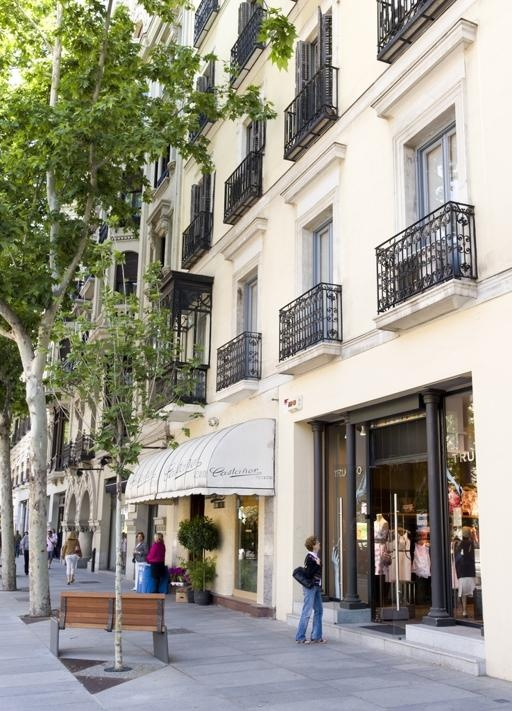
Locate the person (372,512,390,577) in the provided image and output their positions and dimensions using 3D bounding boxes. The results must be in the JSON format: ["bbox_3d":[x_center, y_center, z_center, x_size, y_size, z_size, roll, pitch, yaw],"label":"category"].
[{"bbox_3d":[1.893,2.877,10.226,0.094,0.898,0.418,5,-14,-18],"label":"person"}]

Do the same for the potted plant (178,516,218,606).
[{"bbox_3d":[-1.390,4.798,15.832,0.908,1.931,1.437,3,-14,-12],"label":"potted plant"}]

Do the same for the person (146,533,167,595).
[{"bbox_3d":[-2.311,4.810,15.552,0.430,1.328,1.042,2,-14,-8],"label":"person"}]

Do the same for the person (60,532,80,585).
[{"bbox_3d":[-6.243,6.796,22.581,0.547,1.708,0.689,-2,-12,-1],"label":"person"}]

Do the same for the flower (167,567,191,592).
[{"bbox_3d":[-2.002,5.709,17.108,0.703,0.426,0.994,3,-14,-10],"label":"flower"}]

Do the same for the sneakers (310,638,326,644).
[{"bbox_3d":[0.839,3.883,9.145,0.188,0.088,0.073,2,-10,-14],"label":"sneakers"}]

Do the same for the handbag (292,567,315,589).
[{"bbox_3d":[0.659,3.017,9.162,0.228,0.317,0.118,-18,-6,20],"label":"handbag"}]
